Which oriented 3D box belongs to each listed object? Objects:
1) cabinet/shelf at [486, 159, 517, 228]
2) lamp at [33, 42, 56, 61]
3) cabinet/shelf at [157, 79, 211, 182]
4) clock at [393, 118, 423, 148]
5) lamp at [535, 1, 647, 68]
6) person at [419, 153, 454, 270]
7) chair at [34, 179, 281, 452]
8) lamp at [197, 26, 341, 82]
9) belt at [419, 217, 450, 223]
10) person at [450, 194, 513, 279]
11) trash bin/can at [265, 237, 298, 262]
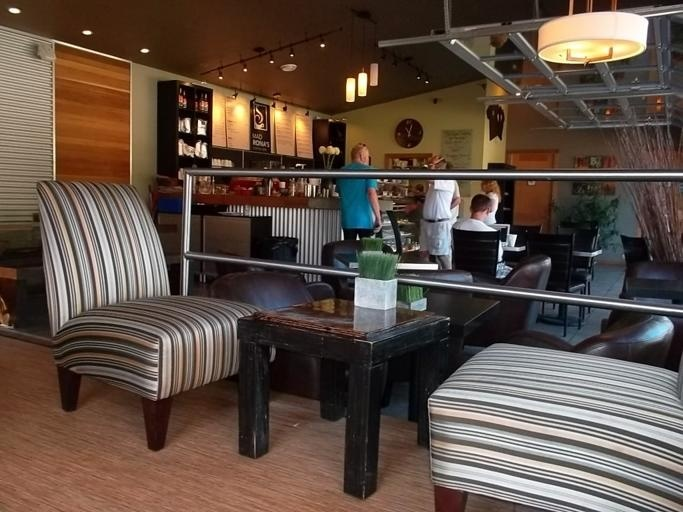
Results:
[{"bbox_3d":[3.231,-1.287,10.372,0.581,1.154,0.284,1,8,-20],"label":"cabinet/shelf"},{"bbox_3d":[-3.976,-2.753,6.859,0.095,0.206,0.238,0,0,43],"label":"lamp"},{"bbox_3d":[-2.650,-2.105,8.468,0.673,1.527,0.951,4,13,13],"label":"cabinet/shelf"},{"bbox_3d":[1.534,-2.816,11.603,0.793,0.668,0.129,9,7,25],"label":"clock"},{"bbox_3d":[1.141,-1.008,2.337,0.442,0.175,0.451,6,12,24],"label":"lamp"},{"bbox_3d":[1.049,-0.353,5.501,0.378,0.922,0.406,4,13,10],"label":"person"},{"bbox_3d":[-0.835,0.150,2.304,0.964,0.904,0.713,10,11,31],"label":"chair"},{"bbox_3d":[-1.113,-3.297,8.203,2.348,0.574,0.595,5,13,20],"label":"lamp"},{"bbox_3d":[1.010,-0.389,5.512,0.291,0.062,0.101,6,13,24],"label":"belt"},{"bbox_3d":[1.395,-0.230,4.858,0.616,0.742,0.517,3,24,24],"label":"person"},{"bbox_3d":[-0.666,-0.090,5.672,0.370,0.321,0.315,0,5,-12],"label":"trash bin/can"}]
